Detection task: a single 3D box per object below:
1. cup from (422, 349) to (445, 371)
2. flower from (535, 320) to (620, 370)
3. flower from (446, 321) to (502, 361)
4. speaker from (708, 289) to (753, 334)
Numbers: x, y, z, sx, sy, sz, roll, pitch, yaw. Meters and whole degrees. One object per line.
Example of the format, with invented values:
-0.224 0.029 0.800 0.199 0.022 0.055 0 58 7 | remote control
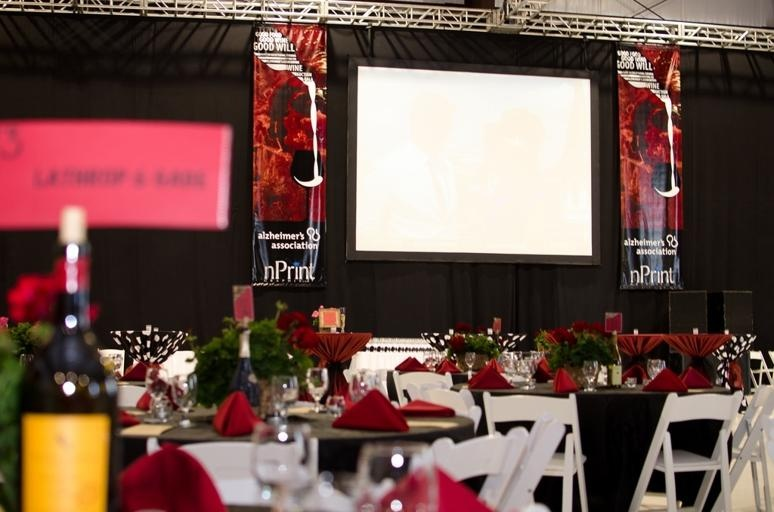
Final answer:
0.530 1.217 11.267 0.192 0.227 0.180 0 -3 0 | cup
1.912 0.874 9.433 0.489 0.420 0.528 -1 2 -20 | flower
0.976 0.980 10.997 0.400 0.348 0.450 -1 0 2 | flower
5.339 0.890 14.996 0.514 0.821 0.739 2 -3 -19 | speaker
